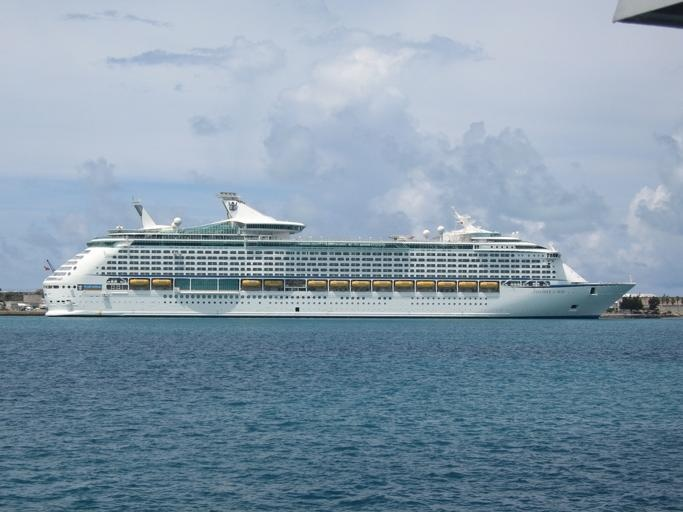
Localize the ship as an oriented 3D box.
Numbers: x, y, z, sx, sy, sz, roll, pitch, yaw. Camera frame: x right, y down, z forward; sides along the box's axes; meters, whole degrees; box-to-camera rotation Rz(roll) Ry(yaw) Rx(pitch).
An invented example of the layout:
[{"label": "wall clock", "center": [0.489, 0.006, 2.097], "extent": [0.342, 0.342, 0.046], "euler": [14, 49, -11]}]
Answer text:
[{"label": "ship", "center": [-3.333, 1.932, 166.338], "extent": [68.261, 12.840, 8.810], "euler": [-1, 16, -2]}]
